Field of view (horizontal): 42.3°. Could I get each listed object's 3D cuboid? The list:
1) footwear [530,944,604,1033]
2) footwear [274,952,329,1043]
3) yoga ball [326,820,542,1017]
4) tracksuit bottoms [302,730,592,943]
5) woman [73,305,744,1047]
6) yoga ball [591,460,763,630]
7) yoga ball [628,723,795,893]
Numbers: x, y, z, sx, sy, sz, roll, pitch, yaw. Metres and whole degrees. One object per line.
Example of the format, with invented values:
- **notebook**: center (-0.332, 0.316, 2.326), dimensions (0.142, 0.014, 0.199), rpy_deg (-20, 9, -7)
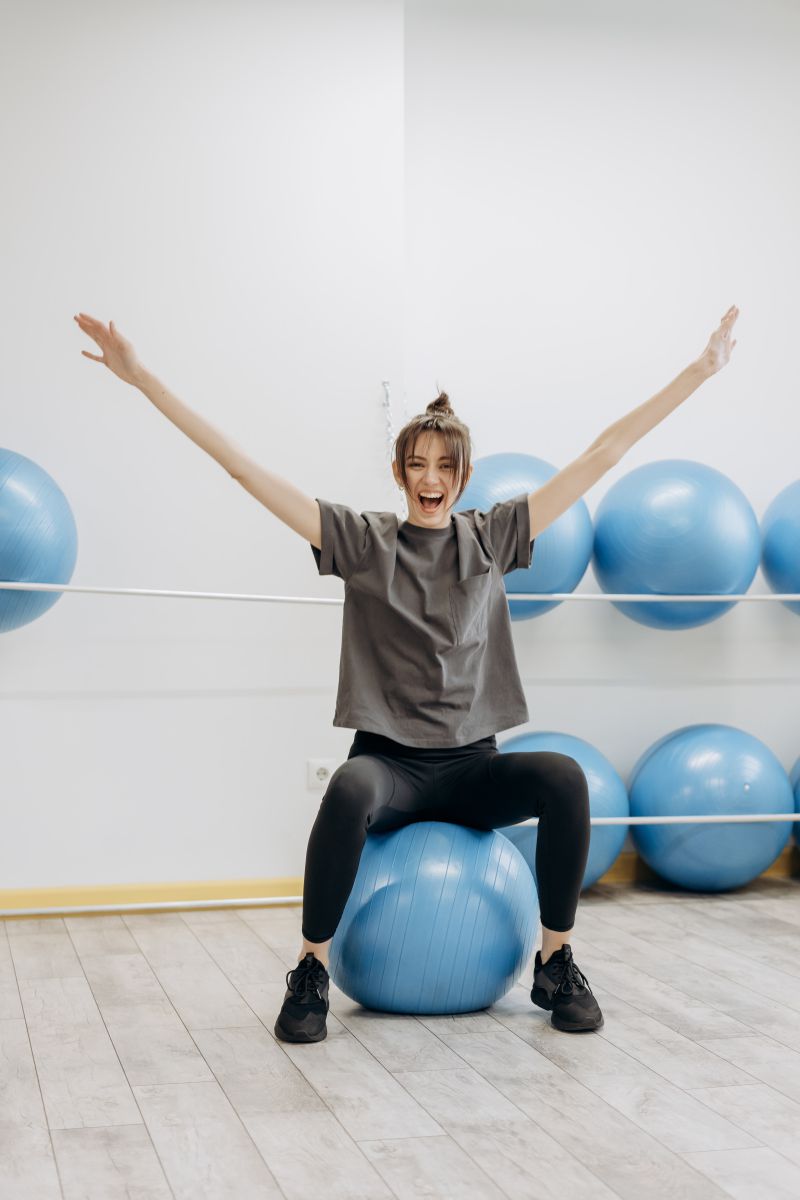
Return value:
- **footwear**: center (0.250, 0.594, 1.558), dimensions (0.065, 0.084, 0.157), rpy_deg (3, -10, -12)
- **footwear**: center (-0.145, 0.581, 1.512), dimensions (0.075, 0.110, 0.099), rpy_deg (0, 11, 2)
- **yoga ball**: center (0.038, 0.485, 1.666), dimensions (0.313, 0.253, 0.301), rpy_deg (3, -10, 1)
- **tracksuit bottoms**: center (0.065, 0.314, 1.700), dimensions (0.410, 0.363, 0.346), rpy_deg (6, 0, -8)
- **woman**: center (-0.046, 0.158, 2.157), dimensions (1.624, 1.486, 0.522), rpy_deg (2, -10, -15)
- **yoga ball**: center (0.709, -0.136, 2.675), dimensions (0.438, 0.455, 0.415), rpy_deg (6, 7, -1)
- **yoga ball**: center (0.733, 0.497, 2.708), dimensions (0.443, 0.477, 0.398), rpy_deg (5, 30, 12)
